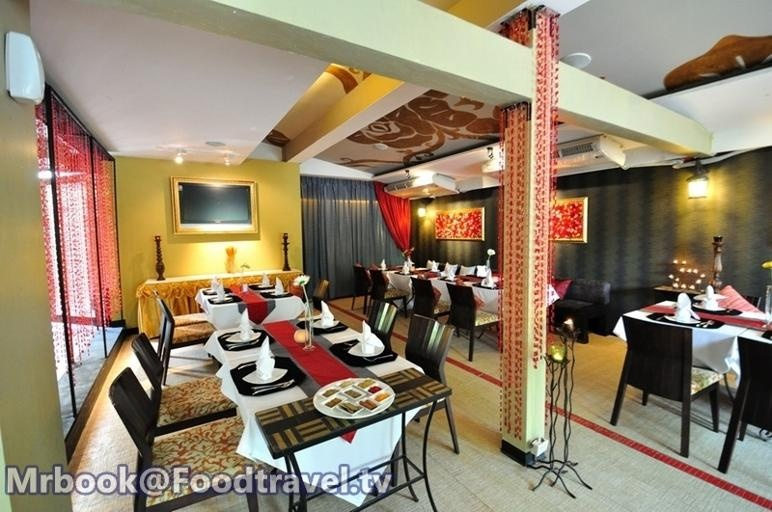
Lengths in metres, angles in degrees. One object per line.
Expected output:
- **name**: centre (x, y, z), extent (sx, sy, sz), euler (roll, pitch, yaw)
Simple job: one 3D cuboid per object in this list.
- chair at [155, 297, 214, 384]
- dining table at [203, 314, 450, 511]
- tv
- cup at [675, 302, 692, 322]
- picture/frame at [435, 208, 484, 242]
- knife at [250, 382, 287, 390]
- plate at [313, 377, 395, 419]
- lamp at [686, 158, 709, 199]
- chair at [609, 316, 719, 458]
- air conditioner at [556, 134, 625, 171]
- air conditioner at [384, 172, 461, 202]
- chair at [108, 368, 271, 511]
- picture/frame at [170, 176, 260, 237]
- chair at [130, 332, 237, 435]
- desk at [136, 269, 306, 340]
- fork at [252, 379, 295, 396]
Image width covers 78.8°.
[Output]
- **chair**: centre (-2.448, 1.059, 5.740), extent (0.665, 0.756, 0.820), euler (-7, 19, -31)
- **dining table**: centre (-0.416, 0.937, 3.653), extent (1.320, 0.826, 1.808), euler (-6, 12, -31)
- **tv**: centre (-2.848, -0.850, 7.651), extent (1.118, 0.723, 0.119), euler (-1, 4, -29)
- **cup**: centre (3.016, 0.568, 4.753), extent (0.194, 0.204, 0.120), euler (-4, -3, 27)
- **picture/frame**: centre (1.497, -0.650, 9.510), extent (0.036, 0.617, 1.307), euler (-5, 5, -39)
- **knife**: centre (-0.905, 1.017, 3.674), extent (0.258, 0.011, 0.079), euler (-3, 14, -25)
- **plate**: centre (-0.217, 1.067, 3.558), extent (0.593, 0.064, 0.566), euler (2, 18, 12)
- **lamp**: centre (3.966, -0.988, 5.967), extent (0.219, 0.484, 0.360), euler (0, 5, 33)
- **chair**: centre (2.763, 1.160, 4.632), extent (0.884, 1.118, 0.884), euler (5, 9, 38)
- **air conditioner**: centre (2.710, -1.394, 6.712), extent (0.781, 0.241, 1.126), euler (4, -5, -40)
- **air conditioner**: centre (0.810, -1.448, 9.418), extent (0.878, 0.370, 1.533), euler (-4, 4, -25)
- **chair**: centre (-1.512, 1.477, 3.707), extent (1.005, 1.249, 0.943), euler (-7, 17, -19)
- **picture/frame**: centre (-2.844, -0.825, 7.656), extent (1.152, 0.749, 0.125), euler (-1, 4, -29)
- **chair**: centre (-1.818, 1.080, 4.501), extent (0.916, 1.147, 0.802), euler (-8, 16, -22)
- **desk**: centre (-3.136, 0.676, 7.422), extent (0.657, 0.627, 1.850), euler (18, 10, 32)
- **fork**: centre (-0.882, 1.032, 3.670), extent (0.348, 0.055, 0.095), euler (-1, 21, -23)
